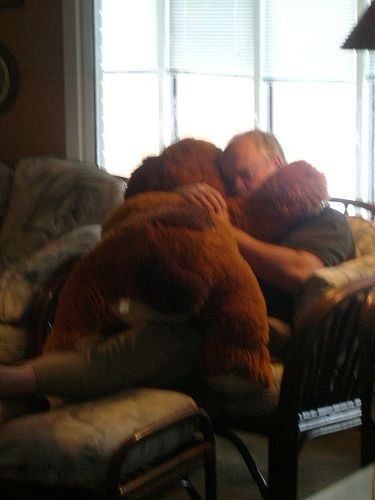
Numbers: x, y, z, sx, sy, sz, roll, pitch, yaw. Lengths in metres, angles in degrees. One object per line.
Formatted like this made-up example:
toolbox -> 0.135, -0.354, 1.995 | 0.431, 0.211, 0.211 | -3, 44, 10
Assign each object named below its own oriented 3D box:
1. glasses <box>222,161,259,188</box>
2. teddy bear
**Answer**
glasses -> 0.090, -0.126, 0.921 | 0.033, 0.050, 0.013 | 12, 14, -31
teddy bear -> -0.064, -0.055, 1.039 | 0.315, 0.360, 0.459 | 0, 12, 26
